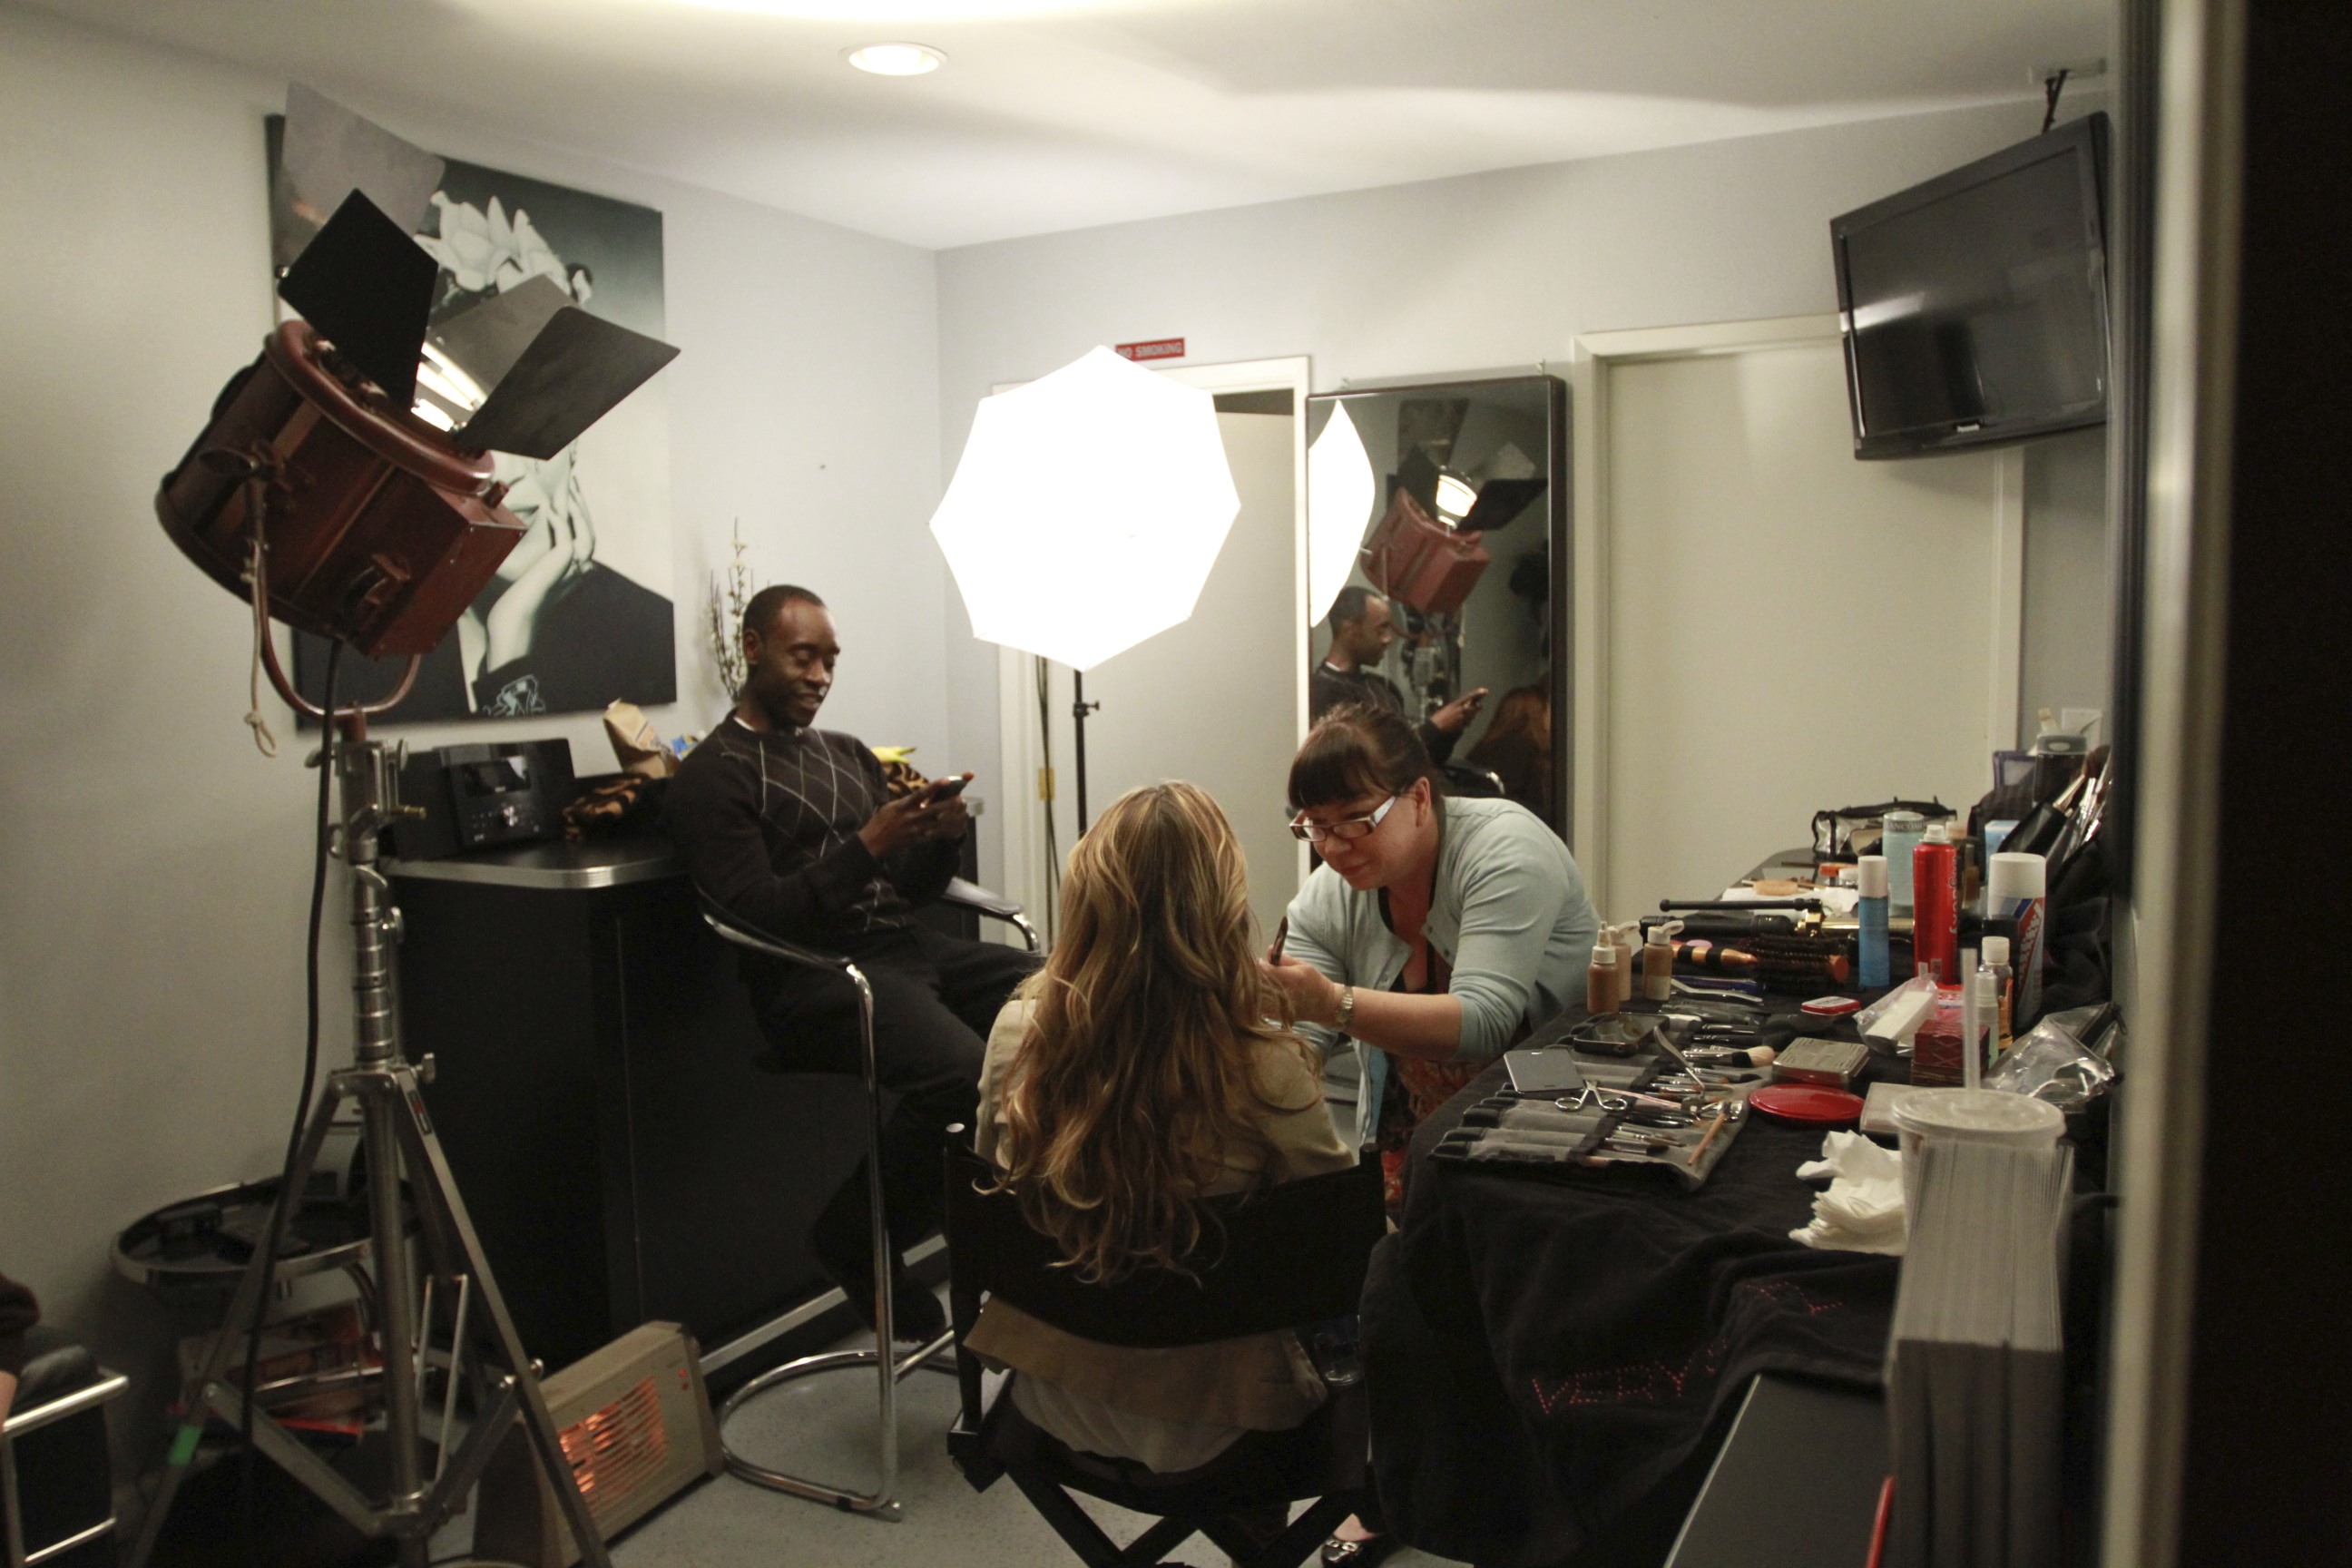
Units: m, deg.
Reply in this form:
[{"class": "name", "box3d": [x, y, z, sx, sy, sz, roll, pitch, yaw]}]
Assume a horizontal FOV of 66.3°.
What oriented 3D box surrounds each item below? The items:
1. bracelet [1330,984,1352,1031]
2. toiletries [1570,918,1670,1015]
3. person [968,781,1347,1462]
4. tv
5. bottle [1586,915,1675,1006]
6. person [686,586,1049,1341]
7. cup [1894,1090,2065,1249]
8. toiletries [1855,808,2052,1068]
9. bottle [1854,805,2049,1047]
[{"class": "bracelet", "box3d": [0.272, 0.370, 2.894, 0.012, 0.053, 0.051, 2, 0, -23]}, {"class": "toiletries", "box3d": [0.749, 0.314, 3.078, 0.252, 0.186, 0.080, -8, 12, -43]}, {"class": "person", "box3d": [0.040, 0.532, 2.780, 0.625, 1.057, 0.596, 3, 1, 26]}, {"class": "tv", "box3d": [1.769, -1.063, 4.016, 0.084, 0.619, 0.851, -11, 7, -16]}, {"class": "bottle", "box3d": [0.769, 0.306, 3.041, 0.047, 0.125, 0.138, 0, 2, 34]}, {"class": "person", "box3d": [-0.618, 0.346, 4.052, 0.854, 1.626, 0.641, -7, 2, 6]}, {"class": "cup", "box3d": [0.717, 0.351, 1.636, 0.117, 0.128, 0.123, -1, -1, 0]}, {"class": "toiletries", "box3d": [1.236, 0.243, 2.781, 0.310, 0.569, 0.371, 0, -3, 24]}, {"class": "bottle", "box3d": [1.276, 0.245, 2.969, 0.169, 0.492, 0.343, 0, 1, -23]}]
